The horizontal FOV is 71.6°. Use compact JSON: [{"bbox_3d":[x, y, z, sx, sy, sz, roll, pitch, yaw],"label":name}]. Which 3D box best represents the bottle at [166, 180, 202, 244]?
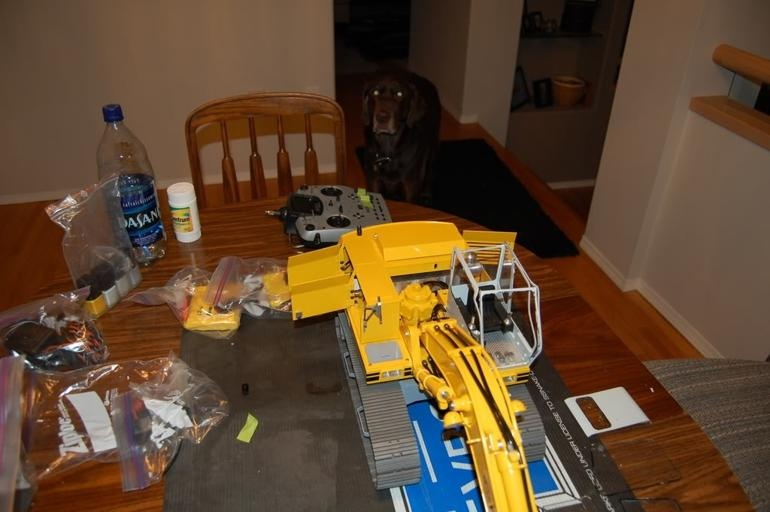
[{"bbox_3d":[-0.646,-0.141,1.712,0.112,0.170,0.113,0,28,0],"label":"bottle"}]

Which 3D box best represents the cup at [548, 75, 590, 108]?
[{"bbox_3d":[1.218,-1.084,3.528,0.209,0.166,0.217,-5,26,3],"label":"cup"}]

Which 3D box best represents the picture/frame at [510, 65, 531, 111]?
[{"bbox_3d":[1.039,-1.299,4.108,0.023,0.279,0.238,0,-5,-18],"label":"picture/frame"}]

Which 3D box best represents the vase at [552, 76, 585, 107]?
[{"bbox_3d":[1.189,-1.069,3.520,0.191,0.140,0.198,19,39,15],"label":"vase"}]

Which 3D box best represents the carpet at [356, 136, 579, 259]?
[{"bbox_3d":[0.729,-0.380,3.438,0.799,0.019,1.403,-11,42,-13],"label":"carpet"}]
